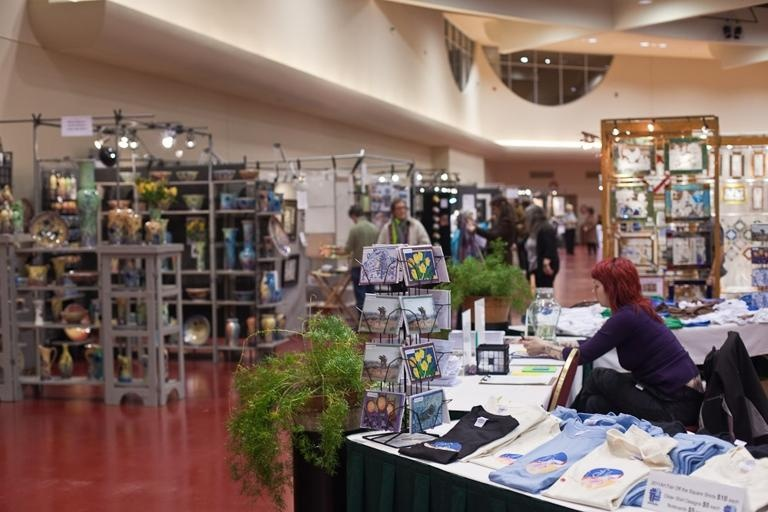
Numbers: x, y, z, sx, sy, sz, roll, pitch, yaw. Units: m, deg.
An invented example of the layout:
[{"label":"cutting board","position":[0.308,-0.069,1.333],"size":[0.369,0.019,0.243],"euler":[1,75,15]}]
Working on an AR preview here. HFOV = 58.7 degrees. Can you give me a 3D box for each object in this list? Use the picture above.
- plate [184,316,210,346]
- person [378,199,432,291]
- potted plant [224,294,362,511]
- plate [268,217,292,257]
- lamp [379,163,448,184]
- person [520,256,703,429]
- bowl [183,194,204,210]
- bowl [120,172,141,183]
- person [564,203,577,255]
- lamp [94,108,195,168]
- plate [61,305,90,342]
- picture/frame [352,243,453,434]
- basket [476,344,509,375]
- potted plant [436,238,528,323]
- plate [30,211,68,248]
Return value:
[{"label":"plate","position":[-2.596,1.040,9.539],"size":[0.390,0.399,0.288],"euler":[8,2,2]},{"label":"person","position":[0.293,-0.030,10.461],"size":[0.854,1.686,0.517],"euler":[-3,-17,0]},{"label":"potted plant","position":[-0.549,0.977,4.990],"size":[1.039,1.497,1.353],"euler":[0,-1,7]},{"label":"plate","position":[-1.417,-0.270,9.260],"size":[0.086,0.442,0.390],"euler":[-11,24,20]},{"label":"lamp","position":[0.764,-1.754,14.929],"size":[1.200,0.277,1.296],"euler":[1,0,-2]},{"label":"person","position":[1.896,0.649,5.072],"size":[0.912,1.242,0.375],"euler":[3,8,18]},{"label":"bowl","position":[-2.582,-0.757,9.436],"size":[0.217,0.157,0.220],"euler":[-1,-4,0]},{"label":"bowl","position":[-3.461,-1.091,9.374],"size":[0.249,0.122,0.252],"euler":[0,-4,0]},{"label":"person","position":[6.983,-1.026,25.867],"size":[0.418,1.830,1.307],"euler":[2,7,14]},{"label":"lamp","position":[-3.241,-1.612,9.014],"size":[1.233,0.455,1.251],"euler":[1,0,4]},{"label":"plate","position":[-3.601,0.781,8.005],"size":[0.308,0.445,0.341],"euler":[-1,5,32]},{"label":"picture/frame","position":[0.140,0.489,4.520],"size":[0.598,1.129,0.773],"euler":[1,7,3]},{"label":"basket","position":[0.826,0.778,5.177],"size":[0.224,0.212,0.221],"euler":[0,-4,4]},{"label":"potted plant","position":[1.009,0.364,6.680],"size":[0.779,0.799,0.772],"euler":[-9,-11,12]},{"label":"plate","position":[-3.889,-0.318,8.004],"size":[0.404,0.411,0.136],"euler":[3,4,-11]}]
